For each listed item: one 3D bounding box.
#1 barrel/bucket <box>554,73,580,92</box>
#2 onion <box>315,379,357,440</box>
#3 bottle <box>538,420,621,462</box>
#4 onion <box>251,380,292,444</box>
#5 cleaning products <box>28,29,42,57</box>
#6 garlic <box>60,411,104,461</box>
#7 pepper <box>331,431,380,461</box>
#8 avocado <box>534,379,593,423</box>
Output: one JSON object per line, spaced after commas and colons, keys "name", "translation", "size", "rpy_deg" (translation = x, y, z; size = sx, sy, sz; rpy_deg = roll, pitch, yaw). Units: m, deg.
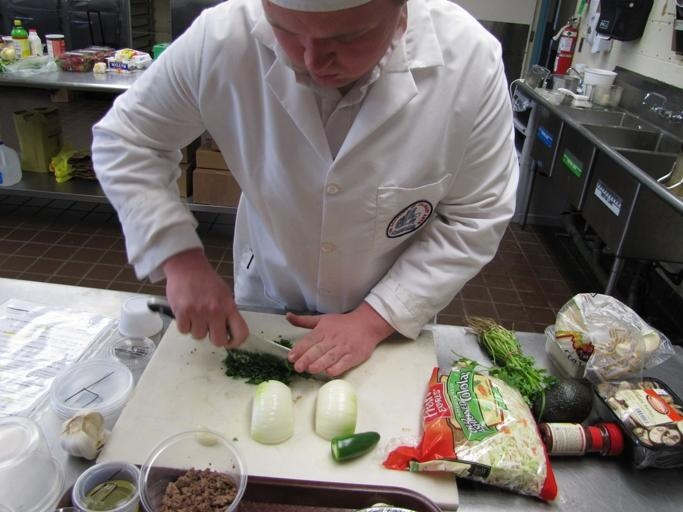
{"name": "barrel/bucket", "translation": [1.878, -1.460, 3.921], "size": [0.151, 0.124, 0.159], "rpy_deg": [0, 23, 0]}
{"name": "onion", "translation": [-0.014, 0.358, 1.095], "size": [0.101, 0.056, 0.146], "rpy_deg": [4, 32, -3]}
{"name": "bottle", "translation": [0.550, 0.413, 1.076], "size": [0.181, 0.056, 0.052], "rpy_deg": [5, 31, -1]}
{"name": "onion", "translation": [-0.162, 0.355, 1.081], "size": [0.098, 0.064, 0.128], "rpy_deg": [-1, 32, -11]}
{"name": "cleaning products", "translation": [-2.477, -1.720, 3.800], "size": [0.087, 0.143, 0.423], "rpy_deg": [-14, 37, -28]}
{"name": "garlic", "translation": [-0.551, 0.384, 1.001], "size": [0.068, 0.064, 0.064], "rpy_deg": [26, 33, 38]}
{"name": "pepper", "translation": [0.032, 0.402, 1.019], "size": [0.095, 0.041, 0.048], "rpy_deg": [-11, 30, -22]}
{"name": "avocado", "translation": [0.559, 0.353, 1.162], "size": [0.126, 0.087, 0.102], "rpy_deg": [-8, -6, 15]}
